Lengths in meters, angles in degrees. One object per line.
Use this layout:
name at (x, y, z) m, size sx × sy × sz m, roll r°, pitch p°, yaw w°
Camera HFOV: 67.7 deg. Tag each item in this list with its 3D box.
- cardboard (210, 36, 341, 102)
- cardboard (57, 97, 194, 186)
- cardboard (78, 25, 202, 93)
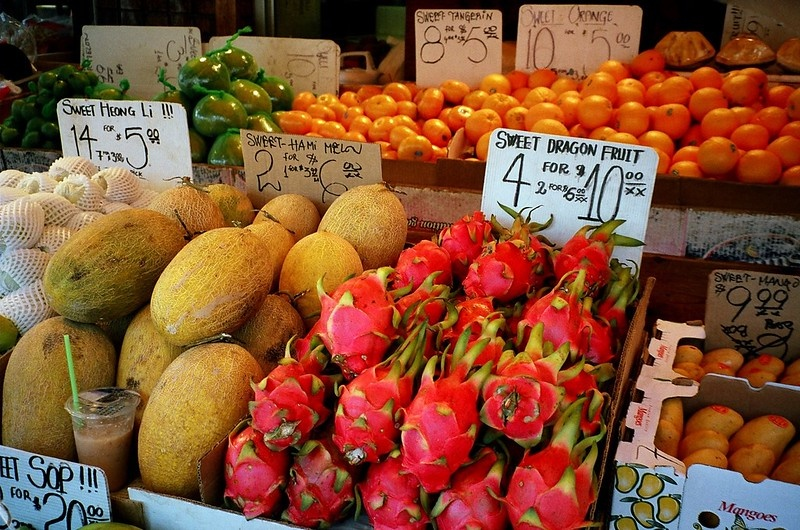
cardboard at (-0.887, -1.415, 4.363) m, size 0.803 × 0.510 × 0.045 m, roll 4°, pitch 11°, yaw 4°
cardboard at (-1.507, -0.632, 3.156) m, size 0.638 × 0.453 × 0.012 m, roll 1°, pitch 5°, yaw 10°
cardboard at (-1.937, -1.549, 4.502) m, size 0.896 × 0.635 × 0.047 m, roll 2°, pitch 29°, yaw 3°
